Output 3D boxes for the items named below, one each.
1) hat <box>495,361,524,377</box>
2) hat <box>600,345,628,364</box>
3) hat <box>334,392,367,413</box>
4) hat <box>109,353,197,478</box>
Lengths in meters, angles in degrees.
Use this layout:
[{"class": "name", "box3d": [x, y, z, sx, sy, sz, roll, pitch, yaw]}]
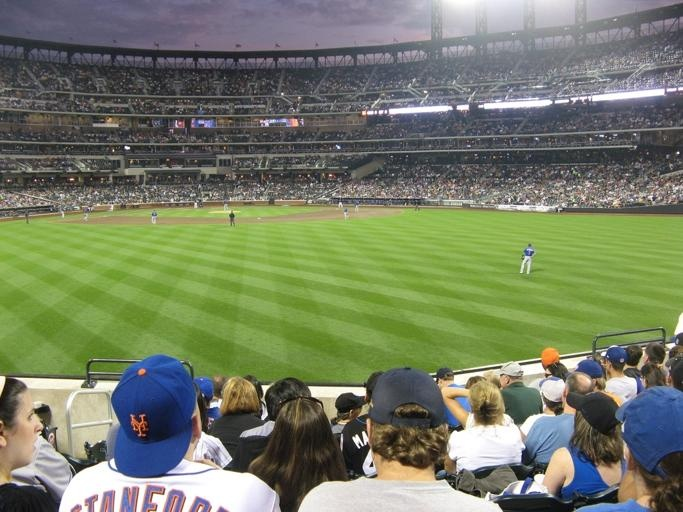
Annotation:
[{"class": "hat", "box3d": [2.604, 1.742, 9.035, 0.271, 0.165, 0.360, 3, -2, -43]}, {"class": "hat", "box3d": [4.505, 1.642, 9.620, 0.313, 0.205, 0.386, 4, 14, 4]}, {"class": "hat", "box3d": [0.144, 1.776, 7.164, 0.371, 0.168, 0.241, -15, 18, -33]}, {"class": "hat", "box3d": [-1.318, 1.152, 4.119, 0.565, 0.738, 0.303, -4, 12, -15]}]
